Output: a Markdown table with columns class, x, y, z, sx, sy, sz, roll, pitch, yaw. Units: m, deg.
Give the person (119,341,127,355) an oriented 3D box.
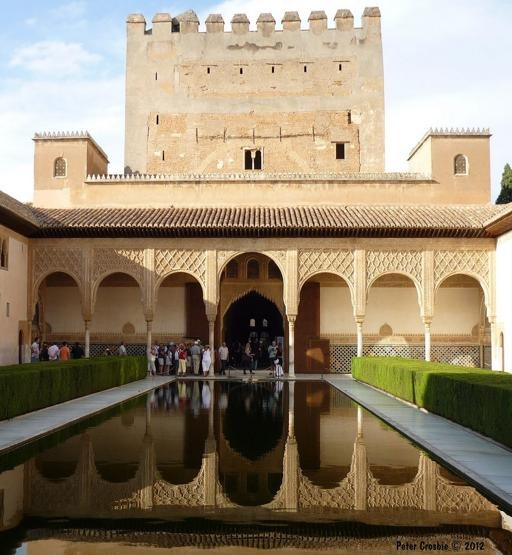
| class | x | y | z | sx | sy | sz | roll | pitch | yaw |
| --- | --- | --- | --- | --- | --- | --- | --- | --- | --- |
| person | -3.936 | 2.087 | 20.477 | 0.255 | 0.394 | 1.032 | 0 | -2 | -11 |
